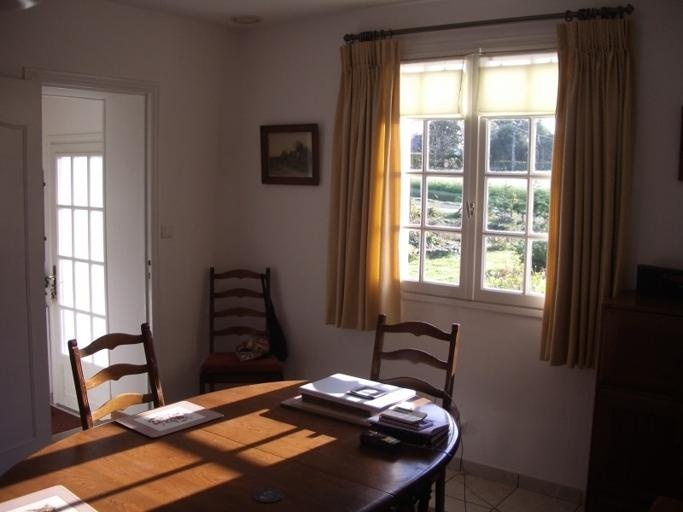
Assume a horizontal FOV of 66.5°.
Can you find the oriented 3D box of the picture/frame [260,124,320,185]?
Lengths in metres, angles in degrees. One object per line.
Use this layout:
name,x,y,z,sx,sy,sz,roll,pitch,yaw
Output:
picture/frame,-0.405,-0.834,4.239,0.447,0.440,0.034,4,10,29
